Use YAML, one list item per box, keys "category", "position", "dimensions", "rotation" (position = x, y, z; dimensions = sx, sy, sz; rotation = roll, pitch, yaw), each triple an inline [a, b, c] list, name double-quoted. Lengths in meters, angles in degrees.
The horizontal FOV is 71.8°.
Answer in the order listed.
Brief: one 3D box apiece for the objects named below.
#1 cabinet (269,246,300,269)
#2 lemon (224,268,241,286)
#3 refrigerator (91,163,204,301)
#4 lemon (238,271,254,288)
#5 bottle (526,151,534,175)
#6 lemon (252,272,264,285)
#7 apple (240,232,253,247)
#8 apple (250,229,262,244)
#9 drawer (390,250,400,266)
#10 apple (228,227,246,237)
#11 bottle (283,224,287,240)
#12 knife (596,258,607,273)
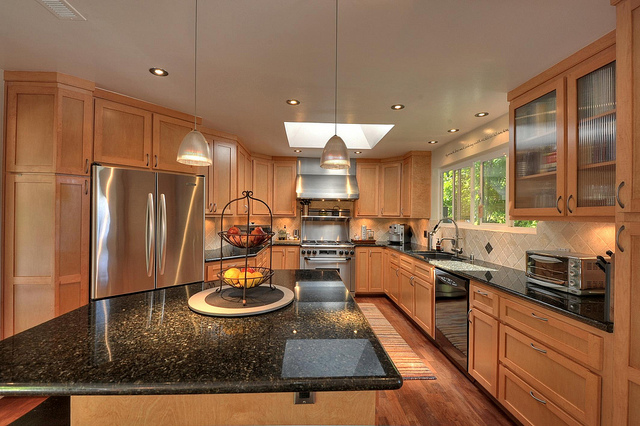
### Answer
- category: "cabinet"
  position: [-0.540, 0.661, 6.848]
  dimensions: [0.534, 0.474, 0.317]
  rotation: [1, -5, -5]
- category: "lemon"
  position: [-0.662, 0.477, 3.317]
  dimensions: [0.123, 0.118, 0.130]
  rotation: [0, 3, -18]
- category: "refrigerator"
  position: [-1.840, 0.197, 4.546]
  dimensions: [1.405, 1.648, 0.701]
  rotation: [3, -3, -39]
- category: "lemon"
  position: [-0.556, 0.493, 3.310]
  dimensions: [0.119, 0.065, 0.120]
  rotation: [6, -5, 14]
- category: "bottle"
  position: [2.023, -0.480, 4.226]
  dimensions: [0.011, 0.210, 0.091]
  rotation: [0, 3, -22]
- category: "lemon"
  position: [-0.470, 0.491, 3.321]
  dimensions: [0.085, 0.042, 0.085]
  rotation: [-3, 4, -44]
- category: "apple"
  position: [-0.554, 0.201, 3.315]
  dimensions: [0.081, 0.104, 0.059]
  rotation: [10, 12, 18]
- category: "apple"
  position: [-0.483, 0.176, 3.311]
  dimensions: [0.087, 0.100, 0.085]
  rotation: [-1, 2, -9]
- category: "drawer"
  position: [1.082, 0.647, 6.387]
  dimensions: [0.128, 0.147, 0.248]
  rotation: [2, -2, -1]
- category: "apple"
  position: [-0.631, 0.131, 3.344]
  dimensions: [0.127, 0.054, 0.063]
  rotation: [14, 7, 8]
- category: "bottle"
  position: [-0.578, 0.310, 7.271]
  dimensions: [0.064, 0.241, 0.142]
  rotation: [1, 3, -4]
- category: "knife"
  position: [2.288, 0.419, 3.577]
  dimensions: [0.034, 0.092, 0.148]
  rotation: [-34, -29, 32]
